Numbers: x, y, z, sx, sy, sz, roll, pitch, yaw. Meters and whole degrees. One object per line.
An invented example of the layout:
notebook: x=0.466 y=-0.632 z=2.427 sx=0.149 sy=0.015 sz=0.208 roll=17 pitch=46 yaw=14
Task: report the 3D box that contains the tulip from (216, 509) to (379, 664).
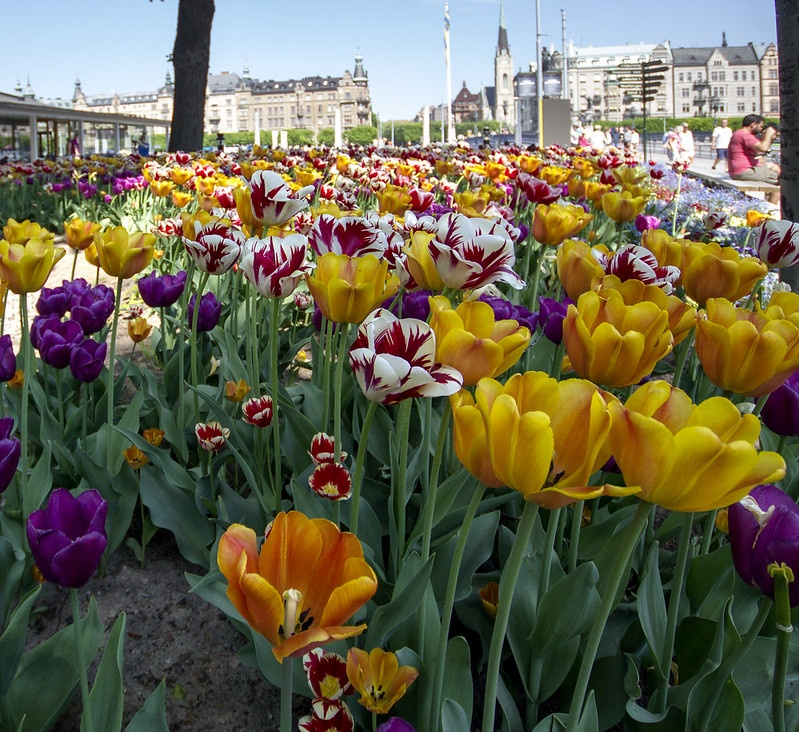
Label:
tulip: x=-0.114 y=0.275 z=0.735 sx=0.161 sy=0.183 sz=0.150 roll=7 pitch=12 yaw=38
